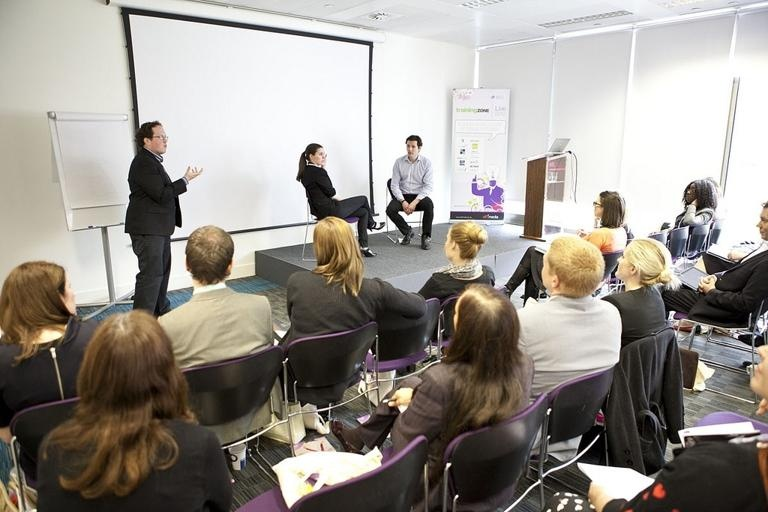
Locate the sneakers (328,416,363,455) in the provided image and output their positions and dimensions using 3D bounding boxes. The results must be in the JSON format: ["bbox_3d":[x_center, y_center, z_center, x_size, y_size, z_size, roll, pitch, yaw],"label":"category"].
[{"bbox_3d":[-0.226,1.099,2.878,0.096,0.220,0.235,-9,13,-35],"label":"sneakers"}]

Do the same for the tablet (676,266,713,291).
[{"bbox_3d":[2.733,0.202,4.300,0.227,0.056,0.213,-32,45,-28],"label":"tablet"}]

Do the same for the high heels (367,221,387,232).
[{"bbox_3d":[-0.098,-0.455,7.586,0.315,0.130,0.117,-7,30,15],"label":"high heels"}]

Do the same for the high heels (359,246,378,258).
[{"bbox_3d":[-0.215,-0.041,6.449,0.251,0.106,0.096,9,12,31],"label":"high heels"}]

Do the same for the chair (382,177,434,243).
[{"bbox_3d":[0.396,-0.591,7.133,0.777,1.295,0.909,-2,5,-7],"label":"chair"}]
